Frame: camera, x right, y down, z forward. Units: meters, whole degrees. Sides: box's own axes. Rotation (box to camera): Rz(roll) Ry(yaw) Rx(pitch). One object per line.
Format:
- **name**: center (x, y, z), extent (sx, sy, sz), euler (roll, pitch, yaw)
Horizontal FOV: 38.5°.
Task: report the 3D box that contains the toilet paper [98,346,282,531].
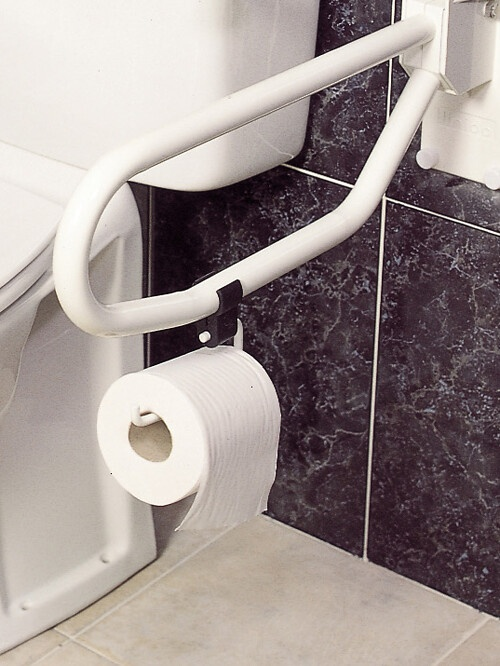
- **toilet paper**: center (-0.050, 0.081, 0.559), extent (0.108, 0.135, 0.117), euler (14, 105, 30)
